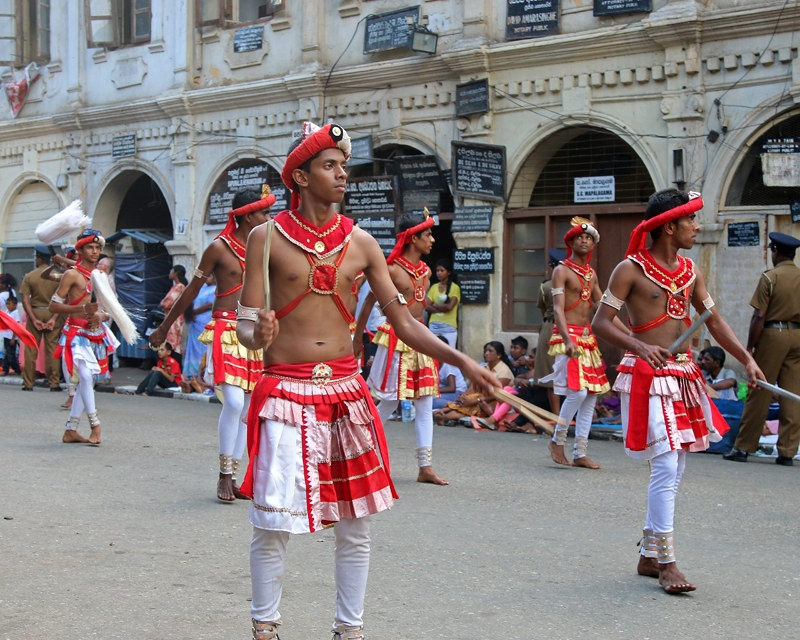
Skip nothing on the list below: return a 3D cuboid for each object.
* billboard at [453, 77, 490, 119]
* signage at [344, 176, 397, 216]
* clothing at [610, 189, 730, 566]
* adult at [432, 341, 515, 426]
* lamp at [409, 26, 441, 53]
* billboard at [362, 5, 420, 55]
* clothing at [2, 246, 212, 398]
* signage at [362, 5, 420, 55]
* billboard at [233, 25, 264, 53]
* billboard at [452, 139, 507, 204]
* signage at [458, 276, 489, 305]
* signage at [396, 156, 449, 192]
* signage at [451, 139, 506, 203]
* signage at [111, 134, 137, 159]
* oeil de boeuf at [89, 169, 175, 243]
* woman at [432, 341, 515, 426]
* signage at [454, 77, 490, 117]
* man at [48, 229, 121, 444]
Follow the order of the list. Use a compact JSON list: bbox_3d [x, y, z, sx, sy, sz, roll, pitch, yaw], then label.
[{"bbox_3d":[1.015,-3.106,17.318,0.763,0.543,0.088,-1,-1,40],"label":"billboard"},{"bbox_3d":[-0.407,-1.824,18.188,1.439,0.730,0.109,5,10,40],"label":"signage"},{"bbox_3d":[1.976,0.456,9.305,0.981,2.831,0.991,10,13,40],"label":"clothing"},{"bbox_3d":[0.973,0.871,15.735,1.484,1.171,0.721,-2,-9,3],"label":"adult"},{"bbox_3d":[0.336,-3.982,17.655,0.479,0.386,0.335,-2,10,-21],"label":"lamp"},{"bbox_3d":[-0.114,-4.235,18.109,1.054,0.567,0.148,-1,-16,40],"label":"billboard"},{"bbox_3d":[-4.055,0.082,17.185,2.762,1.595,1.473,-3,-5,39],"label":"clothing"},{"bbox_3d":[-0.111,-4.228,18.103,1.032,0.555,0.139,-1,-17,41],"label":"signage"},{"bbox_3d":[-2.461,-4.585,20.211,0.634,0.375,0.034,3,-2,44],"label":"billboard"},{"bbox_3d":[1.109,-2.076,17.159,1.126,0.882,0.109,1,0,-1],"label":"billboard"},{"bbox_3d":[1.042,-0.403,17.399,0.468,0.333,0.065,5,4,39],"label":"signage"},{"bbox_3d":[0.343,-2.128,18.018,0.639,0.365,0.067,8,25,39],"label":"signage"},{"bbox_3d":[1.095,-2.079,17.159,1.085,0.854,0.107,2,4,1],"label":"signage"},{"bbox_3d":[-4.886,-3.078,21.939,0.574,0.339,0.079,1,-3,39],"label":"signage"},{"bbox_3d":[-4.915,-2.090,22.452,0.732,1.458,2.135,-7,-5,36],"label":"oeil de boeuf"},{"bbox_3d":[0.983,0.860,15.752,1.484,1.171,0.721,-2,-9,3],"label":"woman"},{"bbox_3d":[1.017,-3.116,17.312,0.734,0.523,0.084,-1,-1,39],"label":"signage"},{"bbox_3d":[-3.343,0.220,13.027,0.653,2.303,0.933,0,10,-11],"label":"man"}]
